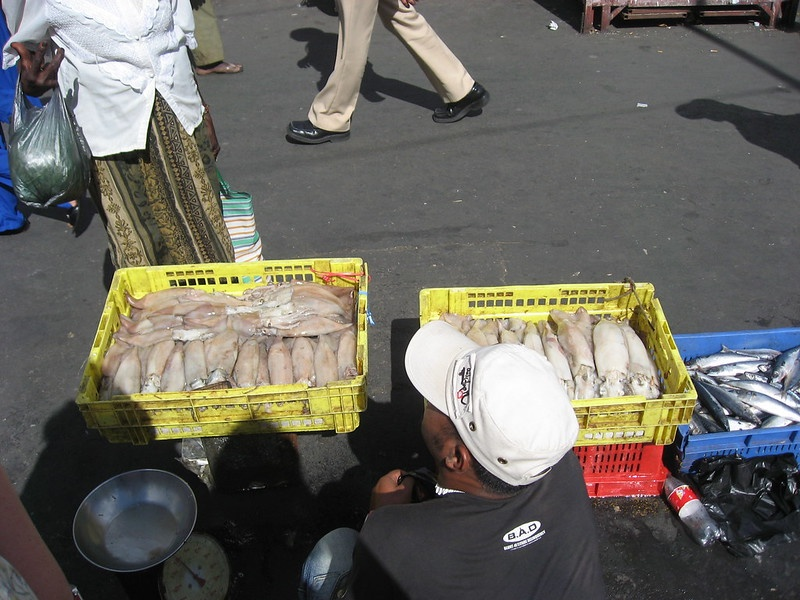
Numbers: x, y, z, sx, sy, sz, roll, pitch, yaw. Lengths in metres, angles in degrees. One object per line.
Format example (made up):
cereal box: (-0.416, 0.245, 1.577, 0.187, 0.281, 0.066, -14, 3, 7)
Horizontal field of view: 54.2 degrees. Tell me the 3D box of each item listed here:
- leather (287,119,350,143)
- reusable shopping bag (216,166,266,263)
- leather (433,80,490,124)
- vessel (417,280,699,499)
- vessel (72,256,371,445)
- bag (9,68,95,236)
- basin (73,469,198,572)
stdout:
leather: (-0.864, -1.726, 8.164, 0.587, 0.276, 0.273, -1, 54, -11)
reusable shopping bag: (-1.348, -0.696, 6.586, 0.347, 0.980, 0.469, -12, 44, -11)
leather: (0.716, -2.064, 8.407, 0.796, 0.389, 0.307, -8, 73, 41)
vessel: (0.994, 0.672, 5.581, 1.761, 0.886, 1.290, 0, 56, 3)
vessel: (-1.155, 0.465, 5.067, 1.813, 0.599, 1.271, 0, 67, 2)
bag: (-2.437, -1.077, 5.295, 0.517, 0.813, 0.509, -11, 48, -11)
basin: (-1.633, 1.371, 4.839, 0.712, 0.213, 0.621, -23, 53, -21)
